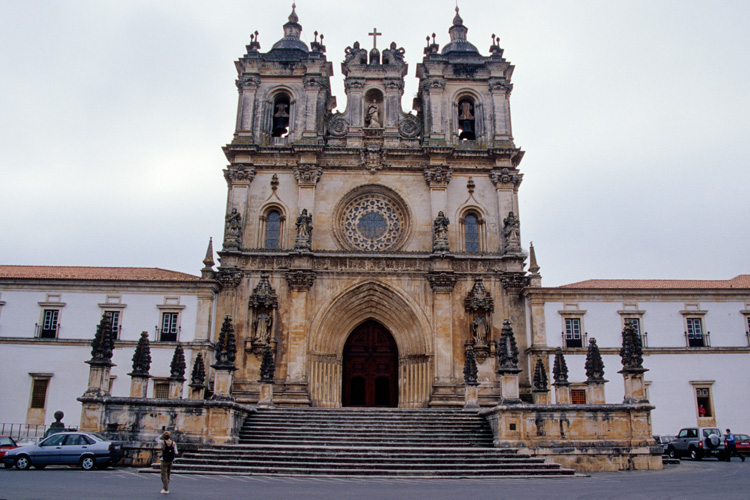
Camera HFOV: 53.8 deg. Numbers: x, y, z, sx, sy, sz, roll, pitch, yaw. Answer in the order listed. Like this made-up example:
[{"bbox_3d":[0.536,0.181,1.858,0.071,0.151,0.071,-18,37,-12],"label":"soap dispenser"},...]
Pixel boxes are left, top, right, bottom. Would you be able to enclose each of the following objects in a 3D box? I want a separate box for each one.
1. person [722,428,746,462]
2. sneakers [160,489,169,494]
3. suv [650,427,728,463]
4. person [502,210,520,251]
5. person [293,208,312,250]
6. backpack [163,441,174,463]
[{"bbox_3d":[19.681,10.789,40.583,1.169,1.024,1.908,-3,-10,9],"label":"person"},{"bbox_3d":[-7.857,8.989,27.540,0.289,0.169,0.408,7,-22,-17],"label":"sneakers"},{"bbox_3d":[18.131,10.884,41.358,1.887,1.460,3.075,10,-15,-25],"label":"suv"},{"bbox_3d":[8.834,-1.188,47.724,1.103,3.062,0.634,-3,-21,10],"label":"person"},{"bbox_3d":[-4.560,-1.281,47.328,1.041,3.009,0.731,5,-21,-10],"label":"person"},{"bbox_3d":[-7.879,7.696,28.145,0.419,0.810,0.505,5,-21,-10],"label":"backpack"}]
